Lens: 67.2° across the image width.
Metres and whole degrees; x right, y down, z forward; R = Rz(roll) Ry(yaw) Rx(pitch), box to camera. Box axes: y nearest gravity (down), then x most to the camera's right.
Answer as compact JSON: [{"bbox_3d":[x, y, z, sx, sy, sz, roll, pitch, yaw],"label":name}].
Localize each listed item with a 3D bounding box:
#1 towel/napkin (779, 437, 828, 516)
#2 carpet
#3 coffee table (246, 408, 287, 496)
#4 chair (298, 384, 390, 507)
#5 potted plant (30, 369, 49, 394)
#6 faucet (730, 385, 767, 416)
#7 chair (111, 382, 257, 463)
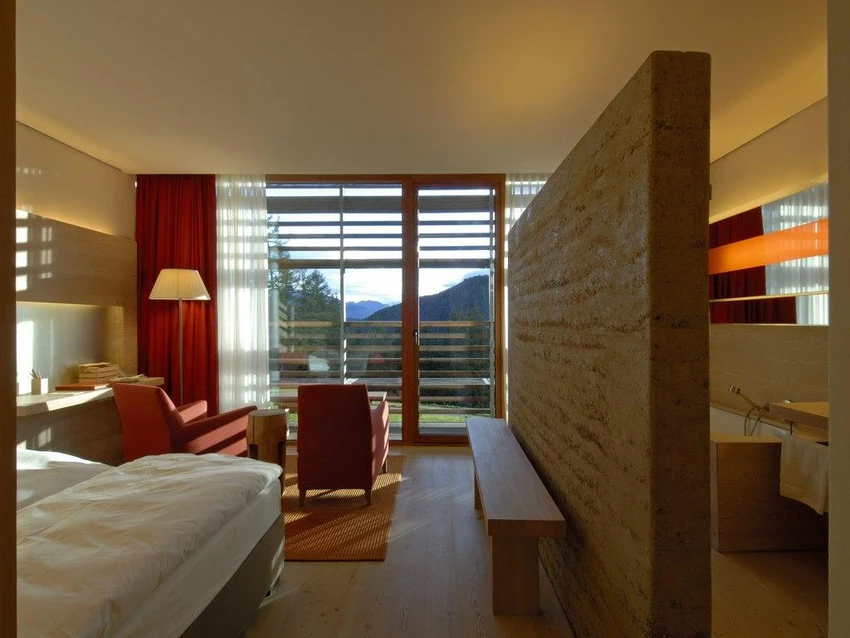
[{"bbox_3d":[2.397,0.967,4.058,0.091,0.412,0.391,-2,10,-9],"label":"towel/napkin"},{"bbox_3d":[-0.665,1.502,4.755,0.909,0.078,1.220,-1,11,-3],"label":"carpet"},{"bbox_3d":[-1.231,1.066,5.199,0.329,0.605,0.321,-9,5,-38],"label":"coffee table"},{"bbox_3d":[-0.648,0.966,5.338,0.634,0.915,0.977,-1,-1,9],"label":"chair"},{"bbox_3d":[-3.214,0.532,5.336,0.083,0.275,0.176,-1,-1,-2],"label":"potted plant"},{"bbox_3d":[2.568,0.674,5.089,0.263,0.111,0.175,31,8,33],"label":"faucet"},{"bbox_3d":[-1.921,0.707,5.216,0.620,0.936,0.920,-1,0,35],"label":"chair"}]
